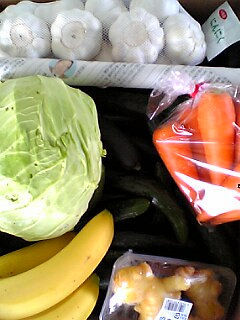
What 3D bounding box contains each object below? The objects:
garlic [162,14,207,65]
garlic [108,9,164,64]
[{"bbox_3d":[0.166,-0.304,0.731,0.120,0.084,0.109,1,75,-3],"label":"garlic"},{"bbox_3d":[0.039,-0.296,0.711,0.141,0.077,0.142,14,74,0],"label":"garlic"}]
